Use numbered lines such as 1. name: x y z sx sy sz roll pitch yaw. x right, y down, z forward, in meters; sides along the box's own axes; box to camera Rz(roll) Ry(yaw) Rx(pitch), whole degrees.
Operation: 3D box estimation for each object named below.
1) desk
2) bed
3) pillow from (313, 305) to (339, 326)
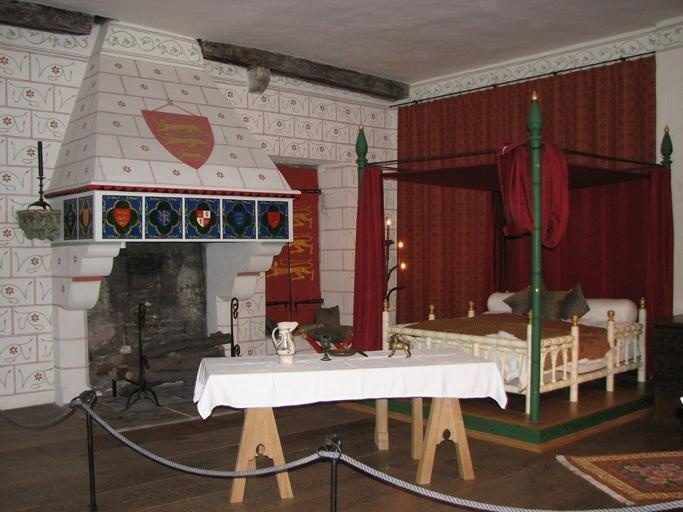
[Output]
1. desk: 0.063 1.460 5.470 2.667 0.838 0.683 -2 -1 -15
2. bed: 2.199 1.131 7.938 2.798 0.953 2.507 -2 2 -42
3. pillow: -0.177 0.904 9.240 0.281 0.191 0.370 -1 -2 -39
